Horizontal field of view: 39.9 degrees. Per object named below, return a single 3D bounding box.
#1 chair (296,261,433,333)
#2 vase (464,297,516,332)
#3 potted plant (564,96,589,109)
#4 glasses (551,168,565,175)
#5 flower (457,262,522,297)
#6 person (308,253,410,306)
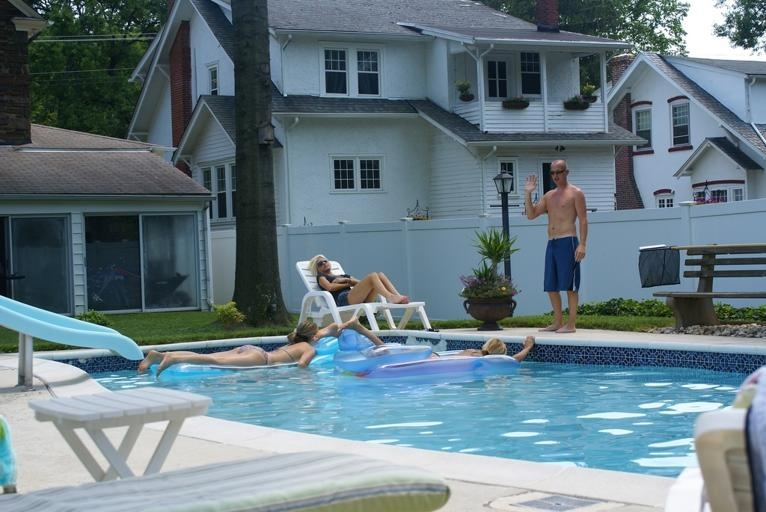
[{"bbox_3d":[-0.452,0.825,20.729,2.324,1.286,1.524,-2,-2,38],"label":"chair"},{"bbox_3d":[2.040,1.022,19.633,0.863,0.480,0.706,0,0,16],"label":"vase"},{"bbox_3d":[6.018,-4.729,32.544,0.540,0.422,1.023,4,9,36],"label":"potted plant"},{"bbox_3d":[3.099,-1.487,18.569,0.270,0.125,0.196,1,8,13],"label":"glasses"},{"bbox_3d":[1.950,0.481,19.815,0.795,0.534,0.883,0,-1,4],"label":"flower"},{"bbox_3d":[-0.467,0.482,20.814,2.421,1.066,0.926,-9,-8,44],"label":"person"}]
